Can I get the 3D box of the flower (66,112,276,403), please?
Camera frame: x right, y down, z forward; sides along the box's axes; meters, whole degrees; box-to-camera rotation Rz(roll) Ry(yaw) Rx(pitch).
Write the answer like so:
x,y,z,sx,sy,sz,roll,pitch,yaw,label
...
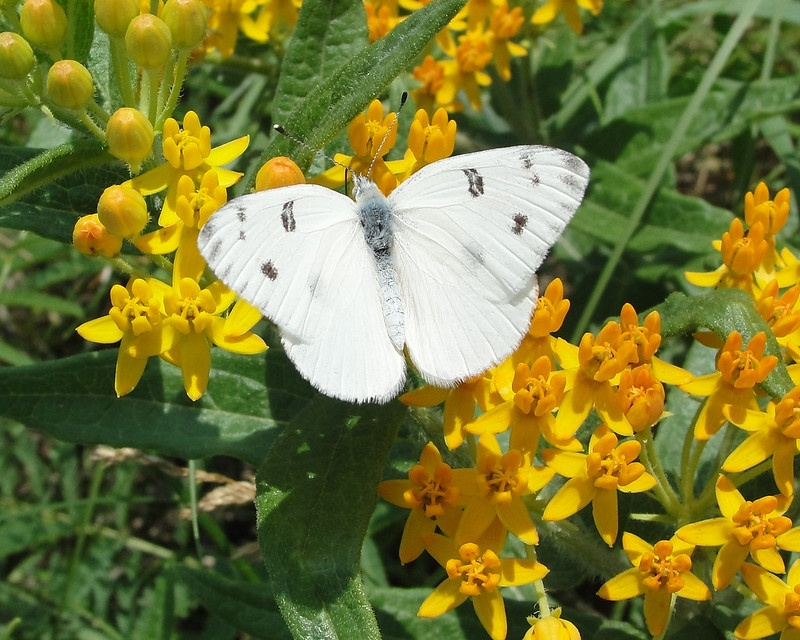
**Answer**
x,y,z,sx,sy,sz,roll,pitch,yaw,label
-0.628,-0.173,2.531,0.486,0.630,0.461,-7,31,-10,flower
